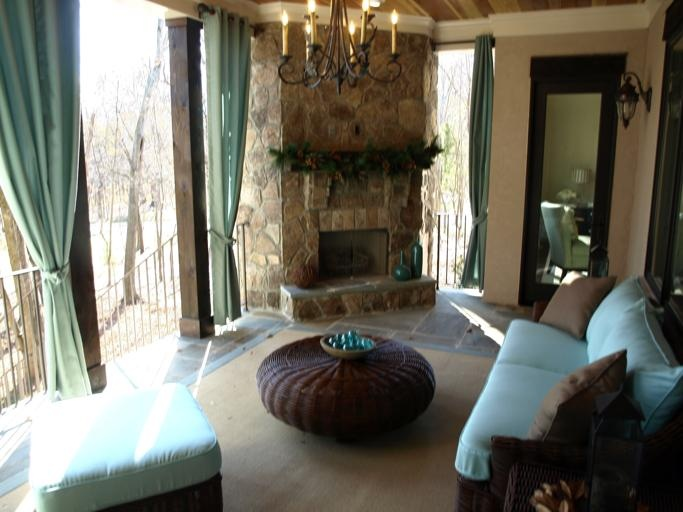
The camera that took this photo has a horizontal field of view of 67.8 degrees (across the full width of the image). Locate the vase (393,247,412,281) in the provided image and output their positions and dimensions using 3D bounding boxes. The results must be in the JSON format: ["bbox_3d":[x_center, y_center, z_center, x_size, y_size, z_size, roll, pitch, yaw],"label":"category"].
[{"bbox_3d":[0.737,0.084,6.093,0.213,0.340,0.312,3,14,9],"label":"vase"}]

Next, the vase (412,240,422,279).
[{"bbox_3d":[0.917,0.037,6.127,0.134,0.419,0.102,-10,16,-37],"label":"vase"}]

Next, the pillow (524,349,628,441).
[{"bbox_3d":[1.168,0.679,2.582,0.163,0.491,0.438,17,-5,33],"label":"pillow"}]

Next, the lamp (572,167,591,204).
[{"bbox_3d":[2.783,-0.835,5.916,0.174,0.440,0.174,-1,23,11],"label":"lamp"}]

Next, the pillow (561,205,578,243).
[{"bbox_3d":[2.619,-0.401,5.850,0.192,0.360,0.103,-2,0,38],"label":"pillow"}]

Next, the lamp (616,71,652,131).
[{"bbox_3d":[2.845,-1.510,4.968,0.265,0.597,0.201,8,-7,26],"label":"lamp"}]
